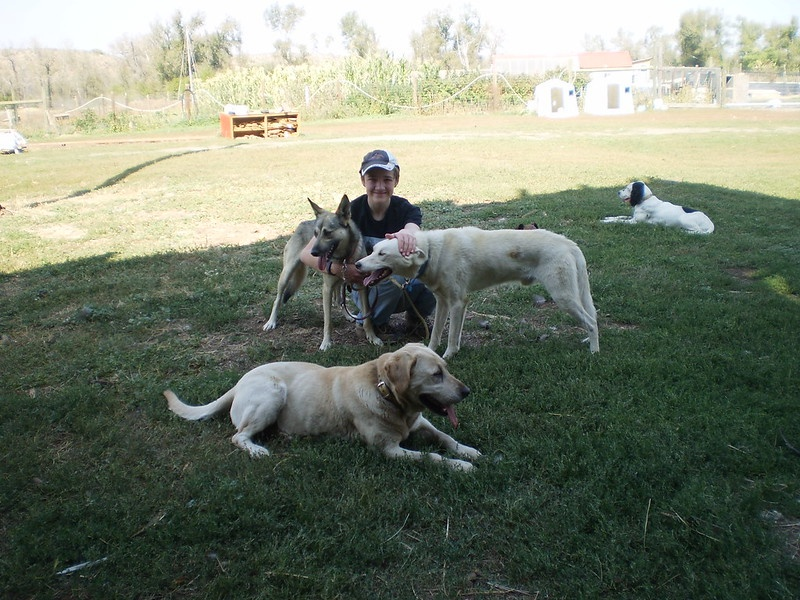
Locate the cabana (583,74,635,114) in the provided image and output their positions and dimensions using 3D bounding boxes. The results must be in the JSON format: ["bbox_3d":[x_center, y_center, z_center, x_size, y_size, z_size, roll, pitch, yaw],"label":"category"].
[{"bbox_3d":[12.730,-12.462,35.514,2.107,1.826,3.539,-7,22,-12],"label":"cabana"}]

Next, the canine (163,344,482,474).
[{"bbox_3d":[-0.467,0.707,4.567,1.931,0.692,0.862,8,16,8],"label":"canine"}]

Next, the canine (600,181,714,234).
[{"bbox_3d":[4.164,-1.394,9.192,1.852,0.824,0.756,15,26,39],"label":"canine"}]

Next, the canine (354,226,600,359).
[{"bbox_3d":[0.819,-0.093,5.710,2.159,1.118,0.706,-2,21,1],"label":"canine"}]

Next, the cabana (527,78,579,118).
[{"bbox_3d":[8.975,-11.761,33.842,2.278,1.802,1.641,5,23,18],"label":"cabana"}]

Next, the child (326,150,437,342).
[{"bbox_3d":[-0.195,-0.597,6.319,0.943,1.870,0.893,-5,5,42],"label":"child"}]

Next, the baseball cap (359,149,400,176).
[{"bbox_3d":[-0.214,-1.401,5.955,0.384,0.233,0.339,-12,23,-21],"label":"baseball cap"}]

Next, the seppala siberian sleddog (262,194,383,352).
[{"bbox_3d":[-0.914,-0.360,6.774,0.938,1.702,2.264,-11,12,-25],"label":"seppala siberian sleddog"}]
